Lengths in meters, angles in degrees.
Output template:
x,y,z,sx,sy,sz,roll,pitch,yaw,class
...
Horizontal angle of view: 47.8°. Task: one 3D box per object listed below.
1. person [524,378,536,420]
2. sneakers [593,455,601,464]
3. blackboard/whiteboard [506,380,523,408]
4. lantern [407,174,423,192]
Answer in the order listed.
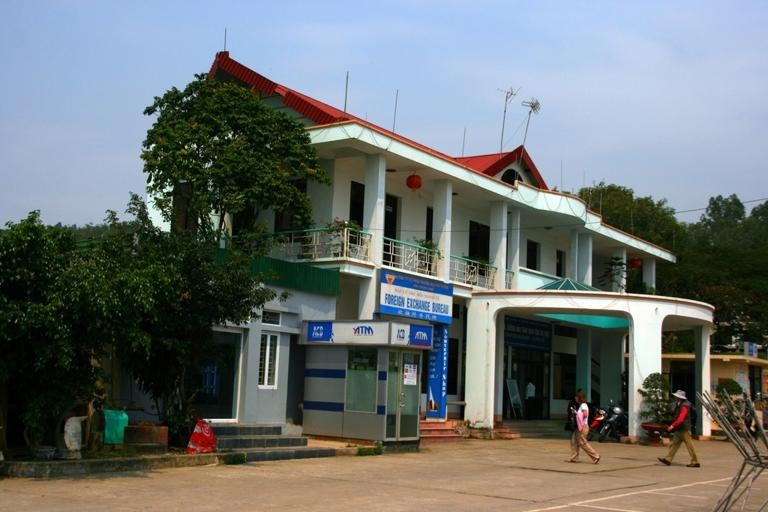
x,y,z,sx,sy,sz,roll,pitch,yaw,class
6.676,6.504,39.474,0.312,1.694,1.041,3,0,27,person
6.150,5.876,24.994,0.148,0.178,0.418,-26,-2,2,sneakers
5.624,5.994,37.541,0.090,1.231,1.068,-22,-34,31,blackboard/whiteboard
1.132,-2.699,32.112,0.522,0.616,0.540,10,16,25,lantern
